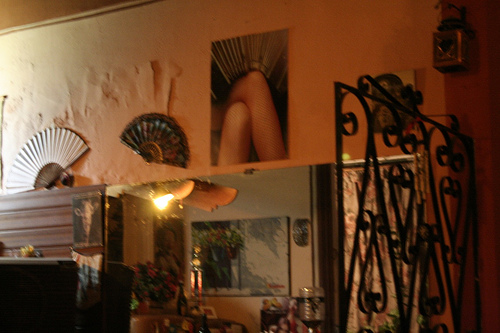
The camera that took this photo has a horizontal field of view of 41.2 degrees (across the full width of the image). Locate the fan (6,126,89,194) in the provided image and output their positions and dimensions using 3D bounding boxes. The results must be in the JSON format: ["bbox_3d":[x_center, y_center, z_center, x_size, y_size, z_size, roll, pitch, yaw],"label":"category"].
[{"bbox_3d":[-1.341,-0.052,4.363,0.672,0.422,0.088,-6,-14,31],"label":"fan"}]

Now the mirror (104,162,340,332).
[{"bbox_3d":[-0.114,0.465,3.683,0.912,0.705,0.013,-5,-11,23],"label":"mirror"}]

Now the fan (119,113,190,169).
[{"bbox_3d":[-0.571,-0.152,4.049,0.277,0.200,0.032,20,3,22],"label":"fan"}]

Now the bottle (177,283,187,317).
[{"bbox_3d":[-0.385,0.746,3.734,0.065,0.180,0.020,-9,-16,38],"label":"bottle"}]

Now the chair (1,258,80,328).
[{"bbox_3d":[-1.306,0.777,4.212,0.430,0.421,0.423,-1,-9,-1],"label":"chair"}]
